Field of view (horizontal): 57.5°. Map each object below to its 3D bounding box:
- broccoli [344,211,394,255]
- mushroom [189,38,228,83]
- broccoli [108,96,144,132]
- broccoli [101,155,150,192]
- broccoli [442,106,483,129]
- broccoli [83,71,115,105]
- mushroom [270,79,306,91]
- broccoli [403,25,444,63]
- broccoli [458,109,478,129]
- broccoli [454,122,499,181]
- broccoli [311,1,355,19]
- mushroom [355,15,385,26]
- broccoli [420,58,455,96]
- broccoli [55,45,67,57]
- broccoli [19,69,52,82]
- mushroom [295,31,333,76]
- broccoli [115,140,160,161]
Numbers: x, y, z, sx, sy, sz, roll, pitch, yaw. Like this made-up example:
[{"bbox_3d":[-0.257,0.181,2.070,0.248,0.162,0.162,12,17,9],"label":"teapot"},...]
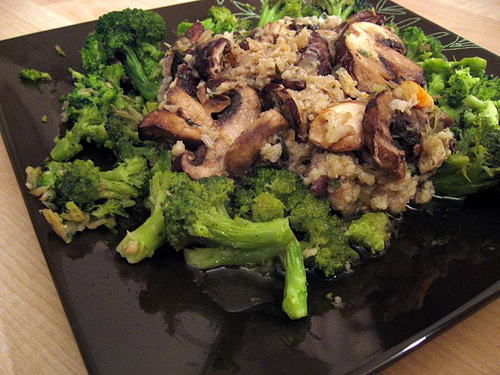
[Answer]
[{"bbox_3d":[1.003,0.390,3.783,0.316,0.106,0.360,41,62,18],"label":"broccoli"},{"bbox_3d":[-0.353,-1.074,3.860,0.344,0.340,0.117,48,22,22],"label":"mushroom"},{"bbox_3d":[-1.144,-0.692,4.195,0.286,0.138,0.419,-4,58,-35],"label":"broccoli"},{"bbox_3d":[-1.046,-0.124,3.880,0.371,0.177,0.264,-6,74,-1],"label":"broccoli"},{"bbox_3d":[1.925,-0.669,4.099,0.248,0.073,0.250,19,13,-6],"label":"broccoli"},{"bbox_3d":[-1.442,-0.935,4.332,0.234,0.142,0.351,-33,79,-15],"label":"broccoli"},{"bbox_3d":[0.356,-0.873,3.848,0.155,0.053,0.153,0,16,-38],"label":"mushroom"},{"bbox_3d":[1.798,-1.447,4.679,0.349,0.249,0.440,-6,41,-14],"label":"broccoli"},{"bbox_3d":[1.953,-0.620,4.104,0.079,0.137,0.169,36,18,-20],"label":"broccoli"},{"bbox_3d":[1.996,-0.311,3.978,0.320,0.361,0.449,21,42,18],"label":"broccoli"},{"bbox_3d":[1.015,-2.074,5.363,0.527,0.151,0.510,-11,17,-13],"label":"broccoli"},{"bbox_3d":[1.245,-1.648,4.490,0.176,0.051,0.171,-16,14,-21],"label":"mushroom"},{"bbox_3d":[1.739,-1.034,4.268,0.149,0.384,0.381,-1,34,50],"label":"broccoli"},{"bbox_3d":[-1.958,-1.403,4.690,0.059,0.018,0.167,-28,62,-30],"label":"broccoli"},{"bbox_3d":[-2.124,-1.097,4.432,0.226,0.050,0.142,22,51,2],"label":"broccoli"},{"bbox_3d":[0.591,-1.129,4.045,0.267,0.184,0.435,-13,51,13],"label":"mushroom"},{"bbox_3d":[-1.024,-0.311,4.077,0.308,0.131,0.197,5,59,-7],"label":"broccoli"}]
